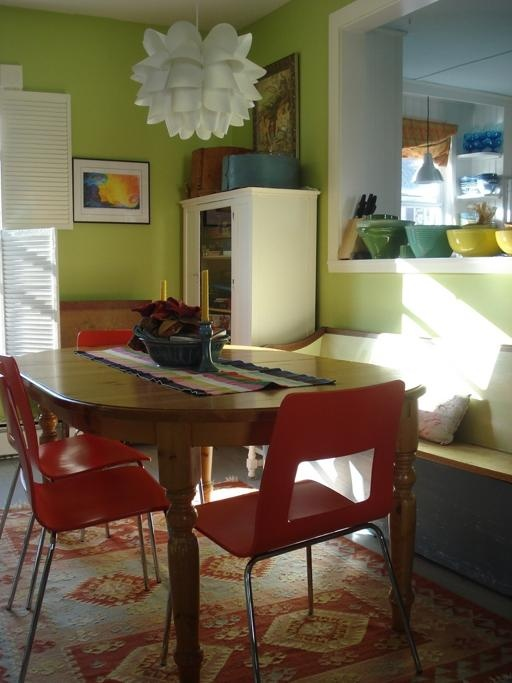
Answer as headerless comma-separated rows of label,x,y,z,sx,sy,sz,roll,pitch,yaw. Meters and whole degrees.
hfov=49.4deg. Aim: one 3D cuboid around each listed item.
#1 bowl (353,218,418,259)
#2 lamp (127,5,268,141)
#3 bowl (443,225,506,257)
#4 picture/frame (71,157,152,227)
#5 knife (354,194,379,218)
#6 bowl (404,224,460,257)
bowl,0.705,-0.553,3.088,0.259,0.173,0.252,-1,3,0
lamp,-0.189,-0.844,1.798,0.385,0.320,0.371,-7,14,-26
bowl,0.967,-0.429,2.486,0.171,0.090,0.167,-1,2,0
picture/frame,-1.111,-1.134,4.156,0.596,0.476,0.020,-2,3,-26
knife,0.653,-0.812,3.344,0.121,0.211,0.045,12,-9,16
bowl,0.854,-0.494,2.767,0.187,0.126,0.183,0,4,0
